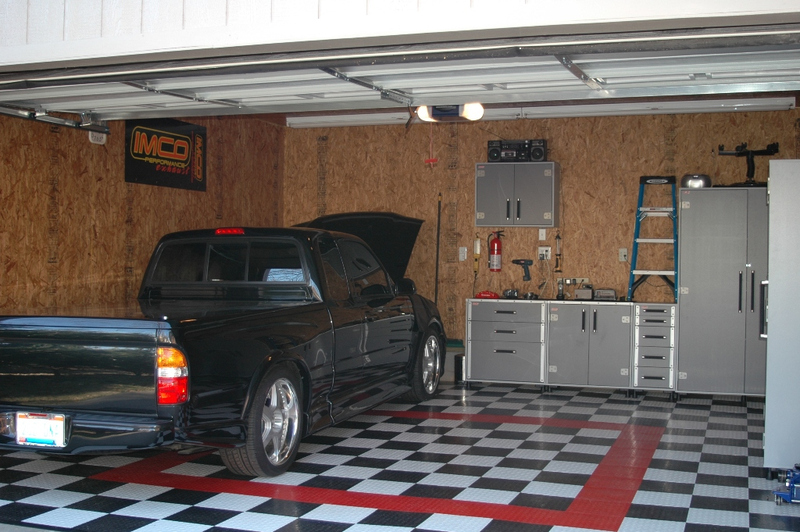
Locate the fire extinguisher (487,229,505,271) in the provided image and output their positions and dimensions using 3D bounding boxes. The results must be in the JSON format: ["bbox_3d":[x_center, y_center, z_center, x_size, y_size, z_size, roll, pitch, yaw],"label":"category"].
[{"bbox_3d":[1.367,-0.208,9.886,0.206,0.594,0.226,2,5,11],"label":"fire extinguisher"}]

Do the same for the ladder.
[{"bbox_3d":[3.235,-0.343,8.786,0.605,1.647,1.379,3,5,18],"label":"ladder"}]
